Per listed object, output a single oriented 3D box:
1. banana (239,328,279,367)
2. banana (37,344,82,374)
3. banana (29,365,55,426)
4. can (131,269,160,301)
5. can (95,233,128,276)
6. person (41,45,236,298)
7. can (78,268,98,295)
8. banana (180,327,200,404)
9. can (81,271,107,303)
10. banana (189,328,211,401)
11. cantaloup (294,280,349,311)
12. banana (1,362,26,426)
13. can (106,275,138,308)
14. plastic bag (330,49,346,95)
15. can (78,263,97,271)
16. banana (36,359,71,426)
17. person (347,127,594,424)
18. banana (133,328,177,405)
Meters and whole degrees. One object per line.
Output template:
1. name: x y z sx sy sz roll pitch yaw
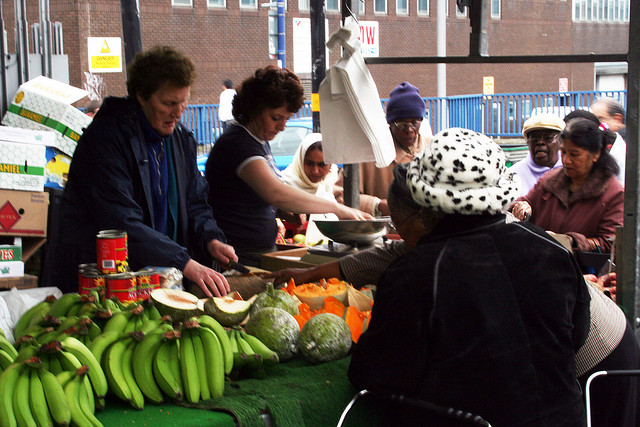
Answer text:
1. banana: -0.303 0.647 3.008 0.190 0.170 0.250 -3 8 -18
2. banana: -1.160 0.646 2.614 0.260 0.120 0.063 22 15 35
3. banana: -1.190 0.786 2.506 0.056 0.240 0.078 -17 8 37
4. can: -1.001 0.417 3.405 0.158 0.180 0.167 -2 -9 0
5. can: -1.200 0.225 3.397 0.254 0.222 0.269 -2 2 7
6. person: -1.193 -0.304 3.989 1.229 1.654 0.825 1 3 -1
7. can: -1.358 0.377 3.426 0.147 0.176 0.153 1 1 -11
8. banana: -0.599 0.699 2.706 0.063 0.323 0.100 -2 4 -42
9. can: -1.265 0.393 3.283 0.153 0.183 0.157 1 0 44
10. banana: -0.588 0.698 2.786 0.071 0.378 0.122 -14 -11 23
11. cantaloup: 0.004 0.459 3.588 0.277 0.142 0.295 -5 10 -13
12. banana: -1.330 0.756 2.546 0.096 0.302 0.065 -1 -8 -13
13. can: -1.105 0.413 3.278 0.164 0.195 0.171 0 2 -10
14. plastic bag: 0.165 -1.052 4.452 0.143 0.290 0.166 -10 30 8
15. can: -1.354 0.304 3.436 0.065 0.026 0.067 0 1 0
16. banana: -1.127 0.769 2.548 0.124 0.264 0.165 -17 14 -37
17. person: 0.721 0.318 2.795 1.120 1.423 0.383 0 3 -13
18. banana: -0.769 0.708 2.723 0.195 0.103 0.413 -6 33 -14
